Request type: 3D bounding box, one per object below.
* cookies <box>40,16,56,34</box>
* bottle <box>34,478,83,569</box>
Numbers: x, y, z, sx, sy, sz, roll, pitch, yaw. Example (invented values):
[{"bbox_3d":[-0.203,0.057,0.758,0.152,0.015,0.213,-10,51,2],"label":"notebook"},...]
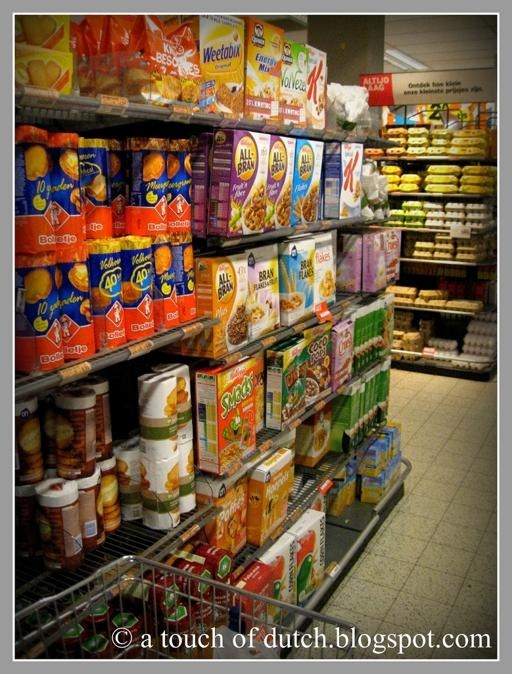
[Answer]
[{"bbox_3d":[-0.478,-0.723,1.184,0.035,0.037,0.005,-7,14,-32],"label":"cookies"},{"bbox_3d":[-0.559,0.537,1.462,0.107,0.241,0.099,1,12,0],"label":"bottle"}]
